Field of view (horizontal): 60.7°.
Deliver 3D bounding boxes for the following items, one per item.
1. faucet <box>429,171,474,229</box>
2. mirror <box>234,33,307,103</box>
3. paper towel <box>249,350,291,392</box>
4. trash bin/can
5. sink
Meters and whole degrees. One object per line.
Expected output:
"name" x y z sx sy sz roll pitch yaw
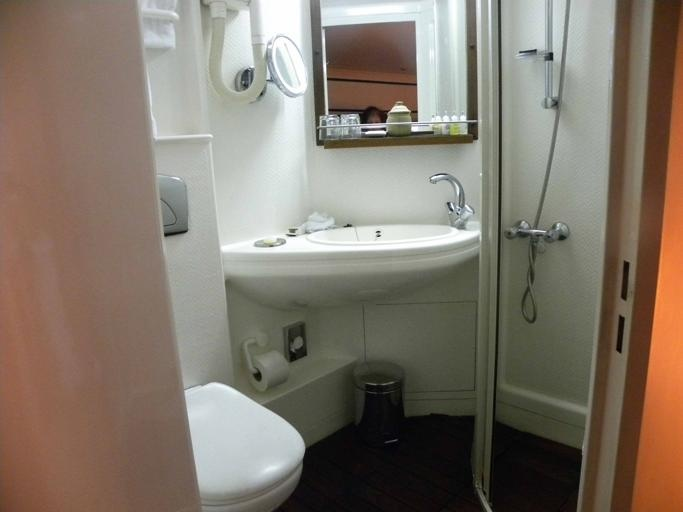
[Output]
"faucet" 0.401 -0.191 2.105 0.150 0.218 0.115 -12 21 -17
"mirror" -0.215 -0.636 1.969 0.149 0.192 0.371 6 16 32
"paper towel" -0.236 0.379 1.941 0.097 0.116 0.120 7 14 41
"trash bin/can" 0.134 0.526 2.101 0.178 0.225 0.202 -1 13 3
"sink" 0.047 0.041 1.941 0.859 0.247 0.426 -4 14 -12
